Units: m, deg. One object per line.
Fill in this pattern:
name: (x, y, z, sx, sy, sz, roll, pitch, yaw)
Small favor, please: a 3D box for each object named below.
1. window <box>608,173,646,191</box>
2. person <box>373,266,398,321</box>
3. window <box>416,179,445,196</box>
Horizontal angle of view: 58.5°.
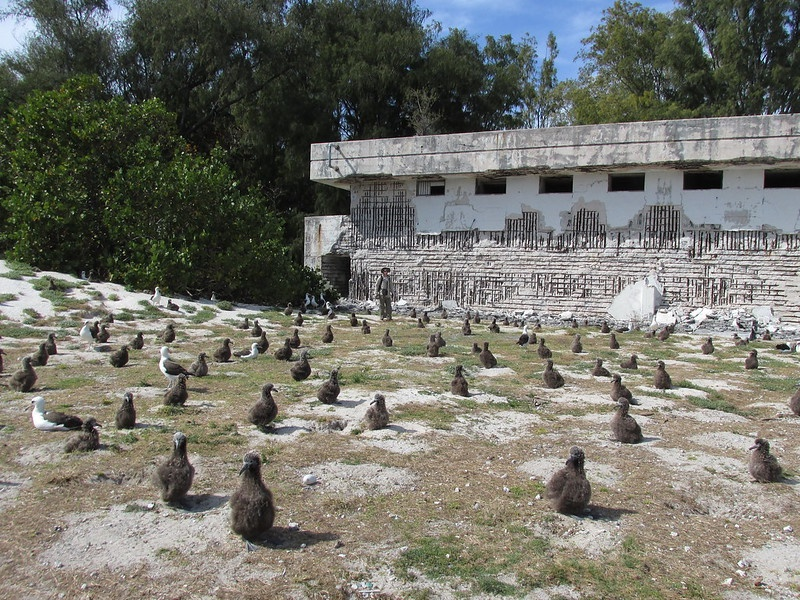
window: (9.510, -4.866, 29.308, 1.170, 0.820, 1.264, 4, 5, 41)
person: (-0.599, -0.253, 27.075, 0.817, 2.036, 0.598, -3, 1, -23)
window: (1.269, -4.935, 31.024, 0.795, 0.538, 0.842, 2, 6, 6)
